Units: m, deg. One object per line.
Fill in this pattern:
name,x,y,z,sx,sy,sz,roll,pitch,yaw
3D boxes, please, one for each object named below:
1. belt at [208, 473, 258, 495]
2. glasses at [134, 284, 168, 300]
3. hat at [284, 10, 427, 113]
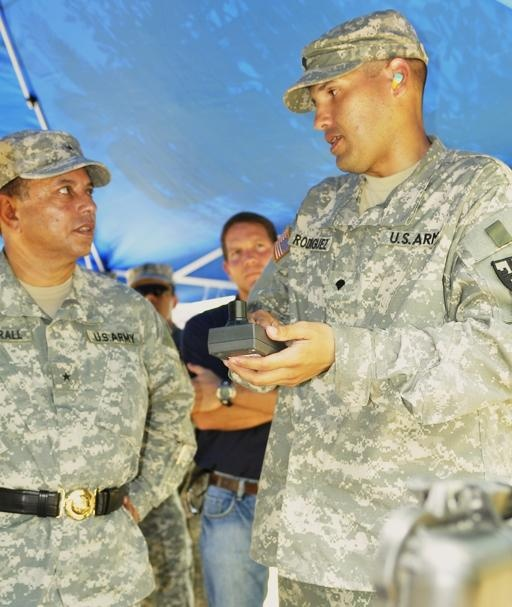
belt,-0.104,0.864,3.351,0.150,0.039,0.137,2,-14,30
glasses,-0.883,-0.127,5.702,0.234,0.162,0.069,-2,-18,4
hat,0.337,-0.861,2.391,0.509,0.172,0.321,-17,5,3
